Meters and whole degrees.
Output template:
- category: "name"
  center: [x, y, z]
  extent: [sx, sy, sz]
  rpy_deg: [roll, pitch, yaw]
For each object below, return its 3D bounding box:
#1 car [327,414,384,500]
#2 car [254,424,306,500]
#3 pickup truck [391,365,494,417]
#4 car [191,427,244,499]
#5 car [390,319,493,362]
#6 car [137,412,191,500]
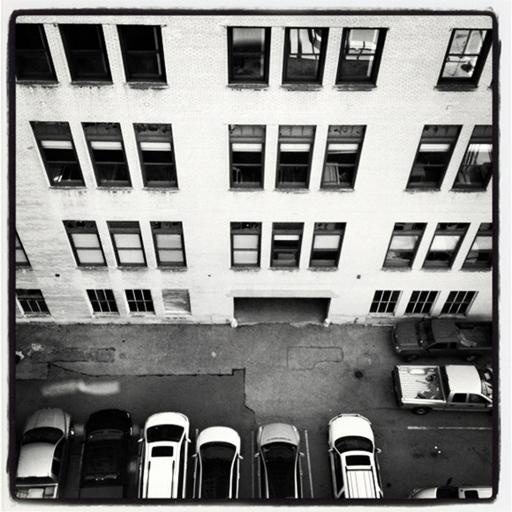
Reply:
- category: "car"
  center: [4.328, 8.756, 26.425]
  extent: [2.062, 3.601, 1.574]
  rpy_deg: [-4, -22, 8]
- category: "car"
  center: [0.993, 8.859, 26.189]
  extent: [1.933, 3.237, 1.894]
  rpy_deg: [-1, -22, 0]
- category: "pickup truck"
  center: [8.911, 6.353, 28.789]
  extent: [3.970, 2.521, 1.529]
  rpy_deg: [-3, -18, 3]
- category: "car"
  center: [-1.660, 8.896, 26.032]
  extent: [1.921, 3.023, 1.635]
  rpy_deg: [1, -22, -4]
- category: "car"
  center: [9.569, 4.417, 31.011]
  extent: [4.580, 2.464, 1.686]
  rpy_deg: [1, -24, 3]
- category: "car"
  center: [-4.049, 9.095, 26.515]
  extent: [1.894, 5.238, 1.737]
  rpy_deg: [0, -51, -2]
